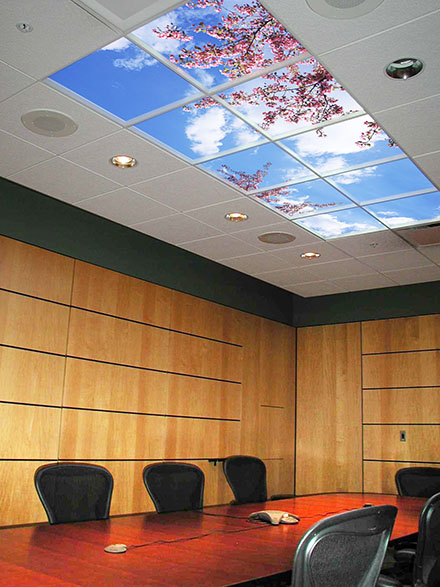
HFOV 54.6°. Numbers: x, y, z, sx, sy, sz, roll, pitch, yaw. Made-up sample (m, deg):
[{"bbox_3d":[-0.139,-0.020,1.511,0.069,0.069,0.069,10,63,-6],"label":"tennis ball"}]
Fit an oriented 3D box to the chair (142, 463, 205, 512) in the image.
[{"bbox_3d":[-0.370,1.491,3.391,0.412,0.542,0.454,9,-26,-23],"label":"chair"}]
